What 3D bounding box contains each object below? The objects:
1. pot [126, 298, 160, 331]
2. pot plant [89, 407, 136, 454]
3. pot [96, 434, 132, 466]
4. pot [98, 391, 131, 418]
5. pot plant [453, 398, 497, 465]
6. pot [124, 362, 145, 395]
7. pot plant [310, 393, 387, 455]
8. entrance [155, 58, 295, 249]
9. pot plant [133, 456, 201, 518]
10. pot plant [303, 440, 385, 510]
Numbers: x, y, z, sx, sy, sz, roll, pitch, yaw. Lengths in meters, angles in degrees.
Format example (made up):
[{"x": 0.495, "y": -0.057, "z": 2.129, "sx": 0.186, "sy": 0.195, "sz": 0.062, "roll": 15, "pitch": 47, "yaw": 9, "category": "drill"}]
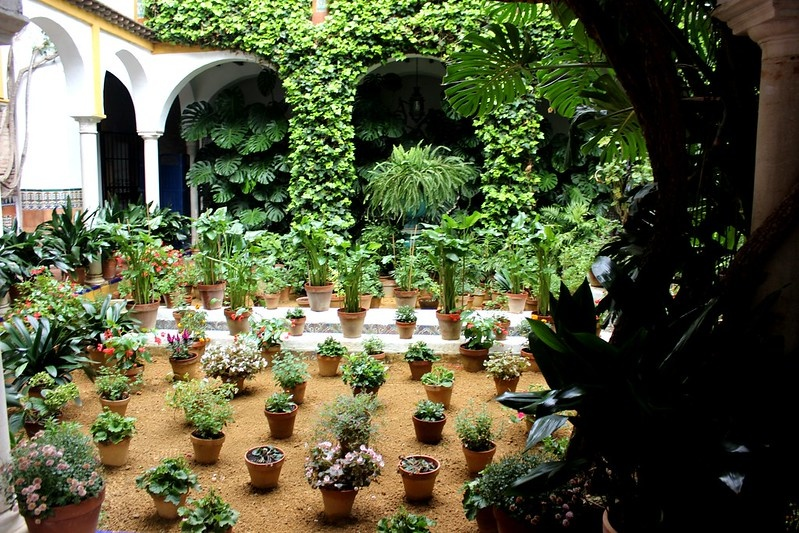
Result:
[{"x": -2.952, "y": 0.564, "z": 6.799, "sx": 0.414, "sy": 0.315, "sz": 0.405, "roll": 1, "pitch": 7, "yaw": 0, "category": "pot"}, {"x": -2.169, "y": 1.224, "z": 4.411, "sx": 0.257, "sy": 0.157, "sz": 0.263, "roll": 16, "pitch": 14, "yaw": 38, "category": "pot plant"}, {"x": -2.140, "y": 1.400, "z": 4.442, "sx": 0.238, "sy": 0.177, "sz": 0.238, "roll": 1, "pitch": 9, "yaw": 0, "category": "pot"}, {"x": -2.439, "y": 1.186, "z": 5.024, "sx": 0.225, "sy": 0.162, "sz": 0.219, "roll": 2, "pitch": 9, "yaw": 0, "category": "pot"}, {"x": 0.562, "y": 1.247, "z": 4.356, "sx": 0.277, "sy": 0.509, "sz": 0.279, "roll": 1, "pitch": 13, "yaw": 9, "category": "pot plant"}, {"x": -2.543, "y": 1.076, "z": 5.647, "sx": 0.279, "sy": 0.293, "sz": 0.263, "roll": -1, "pitch": 1, "yaw": 0, "category": "pot"}, {"x": -0.397, "y": 1.101, "z": 4.252, "sx": 0.444, "sy": 0.408, "sz": 0.400, "roll": -3, "pitch": 10, "yaw": -41, "category": "pot plant"}, {"x": -2.991, "y": -2.329, "z": 11.478, "sx": 2.198, "sy": 2.912, "sz": 1.681, "roll": 1, "pitch": 29, "yaw": -1, "category": "entrance"}, {"x": -1.540, "y": 1.487, "z": 3.926, "sx": 0.342, "sy": 0.347, "sz": 0.391, "roll": -1, "pitch": -3, "yaw": 12, "category": "pot plant"}, {"x": -0.421, "y": 1.405, "z": 4.024, "sx": 0.533, "sy": 0.447, "sz": 0.465, "roll": 1, "pitch": 2, "yaw": -38, "category": "pot plant"}]
